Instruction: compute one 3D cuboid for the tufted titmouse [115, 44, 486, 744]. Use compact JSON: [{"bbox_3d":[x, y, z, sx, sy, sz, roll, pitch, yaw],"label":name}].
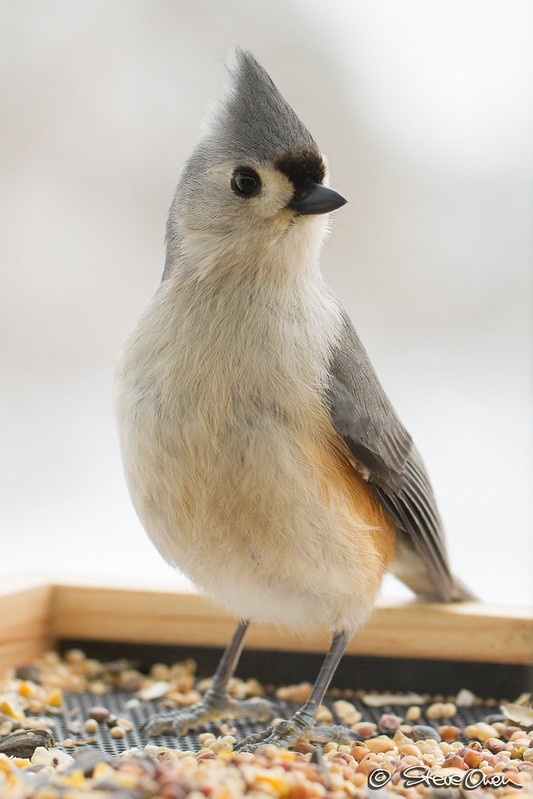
[{"bbox_3d":[0.020,0.031,1.376,0.378,1.018,0.482,-2,-13,31],"label":"tufted titmouse"}]
